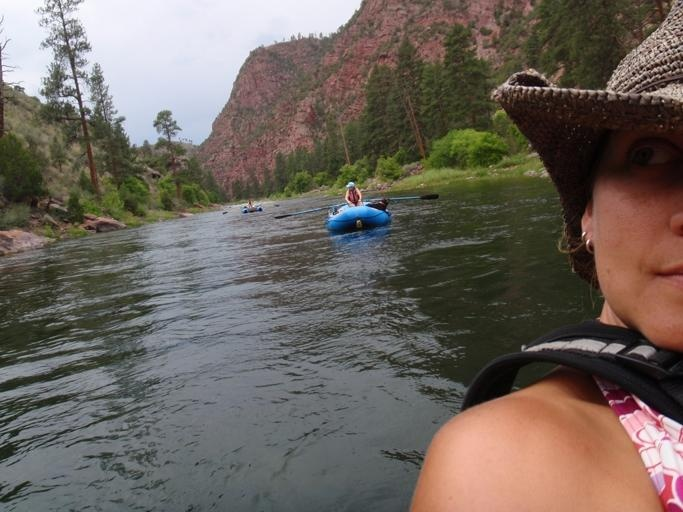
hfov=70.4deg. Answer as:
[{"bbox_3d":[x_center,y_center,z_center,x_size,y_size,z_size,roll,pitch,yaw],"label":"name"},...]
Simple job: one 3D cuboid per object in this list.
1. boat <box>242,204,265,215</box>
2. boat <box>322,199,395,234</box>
[{"bbox_3d":[-7.519,-3.833,40.218,2.558,0.575,3.469,-5,3,-10],"label":"boat"},{"bbox_3d":[0.432,-1.017,14.268,2.011,0.591,3.052,-9,2,-2],"label":"boat"}]
